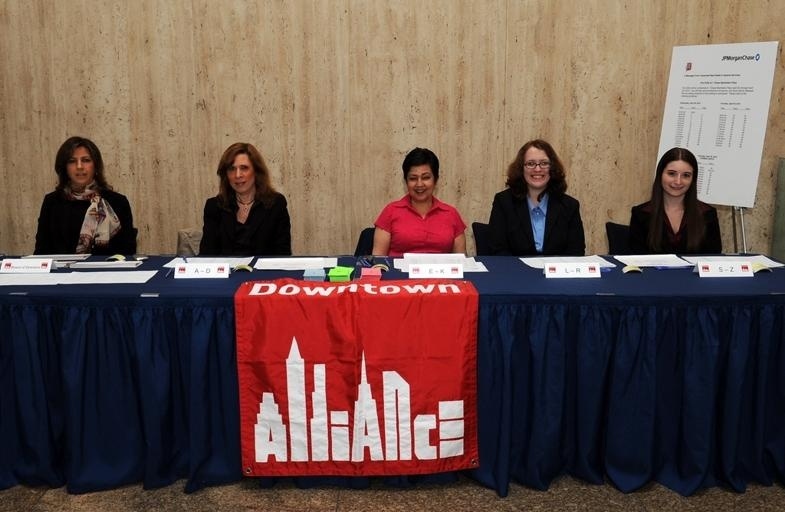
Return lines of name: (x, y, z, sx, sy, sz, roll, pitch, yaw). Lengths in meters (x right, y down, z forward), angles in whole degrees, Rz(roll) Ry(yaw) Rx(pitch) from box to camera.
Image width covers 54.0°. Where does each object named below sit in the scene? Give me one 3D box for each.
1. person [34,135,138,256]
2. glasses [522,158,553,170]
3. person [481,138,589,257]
person: (-2.288, -0.432, 5.685, 0.697, 0.868, 0.347, -6, 9, -25)
glasses: (1.044, -0.652, 5.556, 0.184, 0.069, 0.059, 1, 9, 18)
person: (1.069, -0.346, 5.687, 0.624, 1.003, 0.482, 0, -10, 11)
